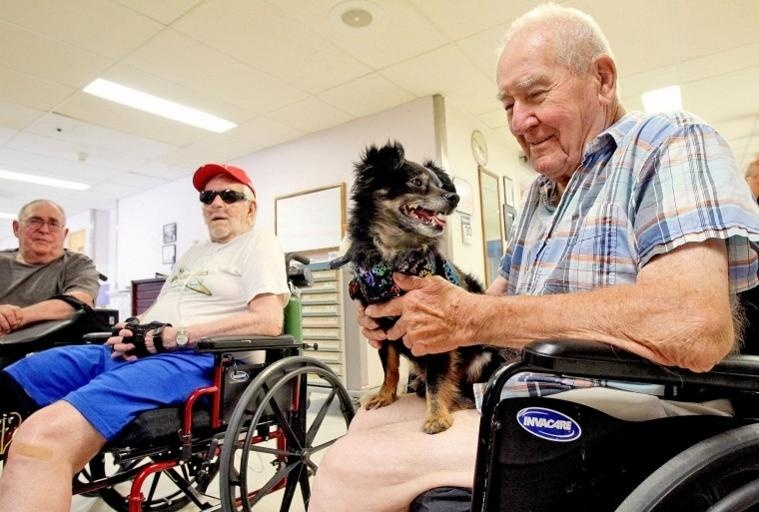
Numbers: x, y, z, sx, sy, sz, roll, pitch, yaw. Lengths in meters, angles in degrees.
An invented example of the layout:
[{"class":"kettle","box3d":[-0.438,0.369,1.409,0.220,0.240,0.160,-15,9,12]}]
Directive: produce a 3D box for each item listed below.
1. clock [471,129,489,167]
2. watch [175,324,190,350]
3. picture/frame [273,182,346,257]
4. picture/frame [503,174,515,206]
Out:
[{"class":"clock","box3d":[1.145,-1.243,6.139,0.034,0.463,0.527,-14,2,34]},{"class":"watch","box3d":[-0.918,0.380,2.456,0.072,0.088,0.058,-5,-1,-1]},{"class":"picture/frame","box3d":[-0.870,-0.424,6.333,0.091,0.746,1.263,8,14,35]},{"class":"picture/frame","box3d":[1.651,-0.830,6.843,0.026,0.431,0.496,-4,1,32]}]
